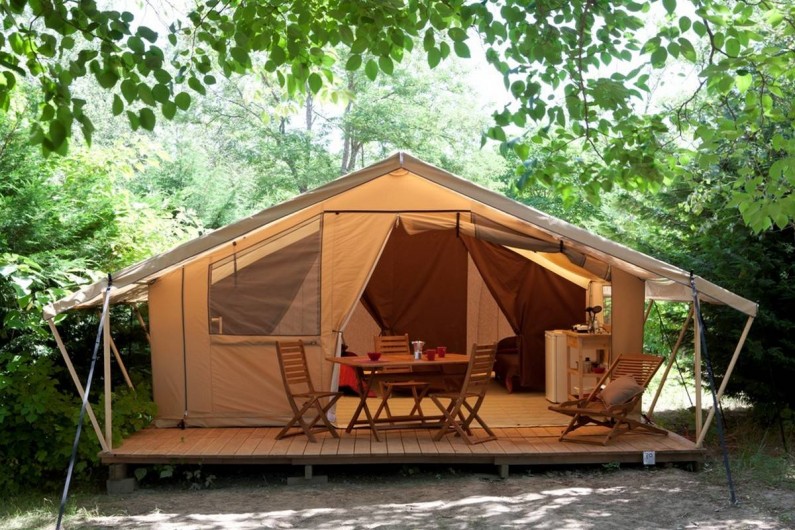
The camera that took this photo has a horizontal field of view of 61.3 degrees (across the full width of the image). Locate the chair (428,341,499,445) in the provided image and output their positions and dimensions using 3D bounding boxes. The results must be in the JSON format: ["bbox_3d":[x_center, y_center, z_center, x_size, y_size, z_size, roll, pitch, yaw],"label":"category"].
[{"bbox_3d":[0.949,1.595,8.937,0.758,1.037,1.935,2,-1,8],"label":"chair"}]

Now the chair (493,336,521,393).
[{"bbox_3d":[1.879,1.714,11.482,0.376,0.634,1.118,2,-4,5],"label":"chair"}]

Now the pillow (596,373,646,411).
[{"bbox_3d":[2.771,1.577,8.326,0.514,0.316,0.412,2,-1,9],"label":"pillow"}]

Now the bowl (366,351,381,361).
[{"bbox_3d":[-0.310,1.142,8.371,0.126,0.066,0.125,0,-3,0],"label":"bowl"}]

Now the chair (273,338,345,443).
[{"bbox_3d":[-1.163,1.582,8.645,0.817,1.179,1.201,3,-1,-9],"label":"chair"}]

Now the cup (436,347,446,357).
[{"bbox_3d":[0.529,1.125,8.648,0.158,0.112,0.135,-5,-6,32],"label":"cup"}]

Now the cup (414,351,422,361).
[{"bbox_3d":[0.255,1.169,8.600,0.096,0.101,0.093,0,1,0],"label":"cup"}]

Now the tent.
[{"bbox_3d":[-0.021,0.577,10.047,7.436,3.913,4.540,3,-1,-3],"label":"tent"}]

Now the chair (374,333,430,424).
[{"bbox_3d":[0.046,1.590,9.297,0.625,1.208,0.834,7,-9,-26],"label":"chair"}]

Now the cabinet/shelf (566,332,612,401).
[{"bbox_3d":[2.701,1.425,9.454,0.511,1.136,1.128,1,-3,3],"label":"cabinet/shelf"}]
